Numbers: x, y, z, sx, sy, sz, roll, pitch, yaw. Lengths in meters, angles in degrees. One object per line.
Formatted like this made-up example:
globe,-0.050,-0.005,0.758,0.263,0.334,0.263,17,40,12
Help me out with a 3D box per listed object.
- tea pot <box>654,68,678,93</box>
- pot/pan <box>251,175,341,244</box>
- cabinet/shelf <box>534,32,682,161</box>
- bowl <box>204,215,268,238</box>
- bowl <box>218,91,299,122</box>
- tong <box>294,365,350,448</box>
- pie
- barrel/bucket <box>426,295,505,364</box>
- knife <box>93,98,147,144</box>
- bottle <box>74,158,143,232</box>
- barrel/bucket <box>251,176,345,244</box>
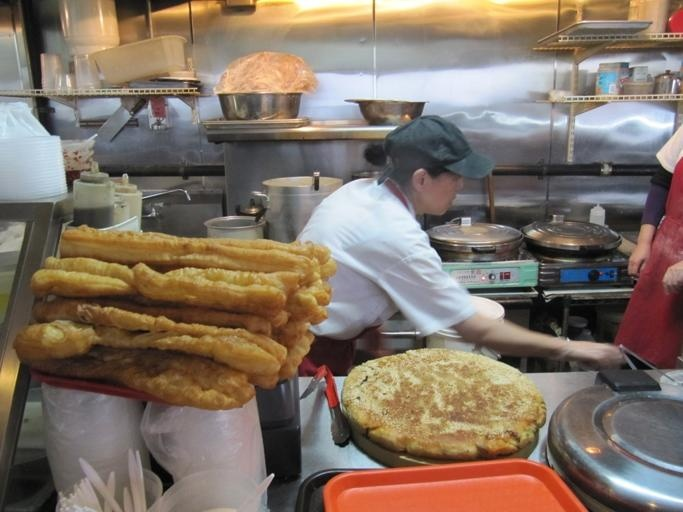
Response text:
tea pot,1.836,-0.982,3.022,0.132,0.113,0.133,-2,19,1
pot/pan,-0.256,-0.245,2.663,0.446,0.370,0.318,-3,15,-21
cabinet/shelf,1.609,-0.998,3.220,1.123,0.770,0.348,-2,6,-5
bowl,-0.469,-0.129,2.412,0.194,0.057,0.145,-2,4,-36
bowl,-0.421,-0.805,2.858,0.424,0.144,0.225,-4,19,-7
tong,-0.026,0.318,1.182,0.073,0.018,0.201,-21,22,-5
pie,0.220,0.326,1.176,0.432,0.050,0.357,-2,18,1
barrel/bucket,0.393,0.233,1.694,0.237,0.274,0.218,-2,23,1
knife,-1.145,-0.731,2.837,0.232,0.229,0.185,-3,20,-2
bottle,-0.495,-0.127,1.193,0.179,0.127,0.160,5,16,-25
barrel/bucket,-0.250,-0.241,2.665,0.441,0.364,0.314,-3,15,-21
